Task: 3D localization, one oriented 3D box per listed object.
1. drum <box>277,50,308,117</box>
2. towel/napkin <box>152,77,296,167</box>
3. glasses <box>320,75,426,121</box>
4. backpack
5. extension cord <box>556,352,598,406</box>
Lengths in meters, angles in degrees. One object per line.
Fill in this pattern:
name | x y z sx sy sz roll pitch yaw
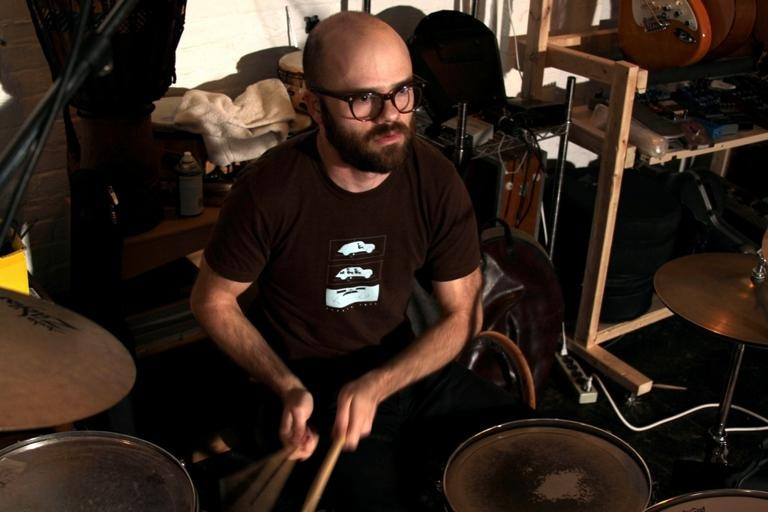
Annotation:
drum | -0.485 -0.744 2.883 0.215 0.224 0.237 -10 24 -18
towel/napkin | -0.620 -0.577 2.666 0.442 0.153 0.450 33 46 26
glasses | -0.035 -0.467 1.864 0.341 0.101 0.129 -10 27 -7
backpack | 0.570 0.203 2.531 0.474 0.655 0.352 -11 19 -36
extension cord | 0.905 0.568 2.929 0.093 0.060 0.297 -3 29 -6
